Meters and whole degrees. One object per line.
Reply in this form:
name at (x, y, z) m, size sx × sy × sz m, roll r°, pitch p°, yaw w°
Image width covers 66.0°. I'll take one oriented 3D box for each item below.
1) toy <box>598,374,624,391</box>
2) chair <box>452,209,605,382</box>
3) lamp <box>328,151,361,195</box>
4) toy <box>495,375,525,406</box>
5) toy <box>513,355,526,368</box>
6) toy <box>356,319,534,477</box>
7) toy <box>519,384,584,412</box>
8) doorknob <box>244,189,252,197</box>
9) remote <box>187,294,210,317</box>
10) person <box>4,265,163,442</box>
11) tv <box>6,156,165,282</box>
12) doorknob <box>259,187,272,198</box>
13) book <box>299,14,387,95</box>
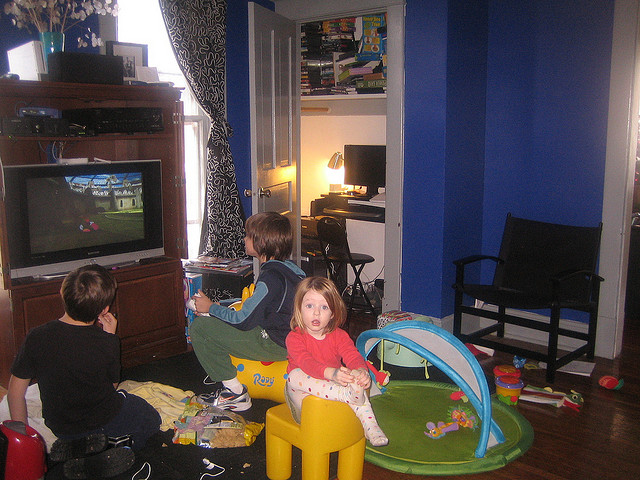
toy at (2.076, 1.014, 3.491) m, size 0.141 × 0.071 × 0.116 m, roll 0°, pitch 6°, yaw -26°
chair at (1.659, 0.382, 3.966) m, size 1.058 × 1.140 × 0.929 m, roll 5°, pitch 11°, yaw 31°
lamp at (0.263, -0.756, 5.525) m, size 0.207 × 0.465 × 0.412 m, roll -5°, pitch 11°, yaw -24°
toy at (1.250, 0.986, 3.246) m, size 0.152 × 0.148 × 0.170 m, roll 0°, pitch 2°, yaw 2°
toy at (1.518, 0.927, 3.752) m, size 0.076 × 0.073 × 0.061 m, roll 20°, pitch -15°, yaw -24°
toy at (0.728, 0.911, 2.992) m, size 0.845 × 0.481 × 0.843 m, roll -11°, pitch 13°, yaw -37°
toy at (1.554, 1.067, 3.310) m, size 0.259 × 0.076 × 0.108 m, roll 8°, pitch 27°, yaw 22°
doorknob at (-0.633, -0.402, 4.237) m, size 0.069 × 0.057 × 0.066 m, roll -9°, pitch -7°, yaw 27°
remote at (-0.787, 0.433, 3.126) m, size 0.155 × 0.164 × 0.048 m, roll 27°, pitch 48°, yaw 25°
person at (-1.359, 0.634, 2.757) m, size 0.697 × 1.040 × 0.579 m, roll 8°, pitch 14°, yaw 6°
tv at (-1.648, -0.142, 3.386) m, size 0.113 × 0.655 × 0.843 m, roll 8°, pitch 10°, yaw 44°
doorknob at (-0.468, -0.417, 4.306) m, size 0.053 × 0.086 × 0.201 m, roll 3°, pitch 10°, yaw 16°
book at (0.283, -1.999, 5.233) m, size 0.929 × 0.701 × 0.517 m, roll 9°, pitch 17°, yaw 37°
